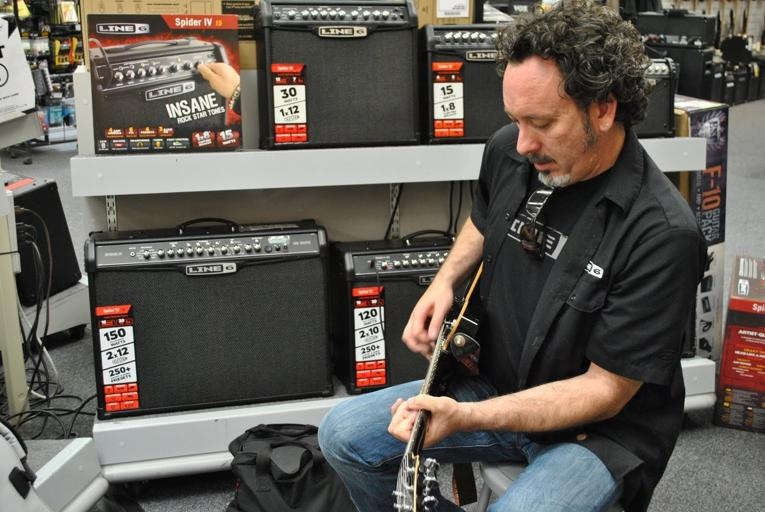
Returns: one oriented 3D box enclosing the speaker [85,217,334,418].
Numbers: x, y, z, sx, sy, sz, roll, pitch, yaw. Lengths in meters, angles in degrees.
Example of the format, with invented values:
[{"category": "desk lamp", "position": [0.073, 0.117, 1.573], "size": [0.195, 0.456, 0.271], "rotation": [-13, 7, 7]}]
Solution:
[{"category": "speaker", "position": [-0.660, 0.256, 2.455], "size": [0.718, 0.610, 0.285], "rotation": [-2, 7, -12]}]
